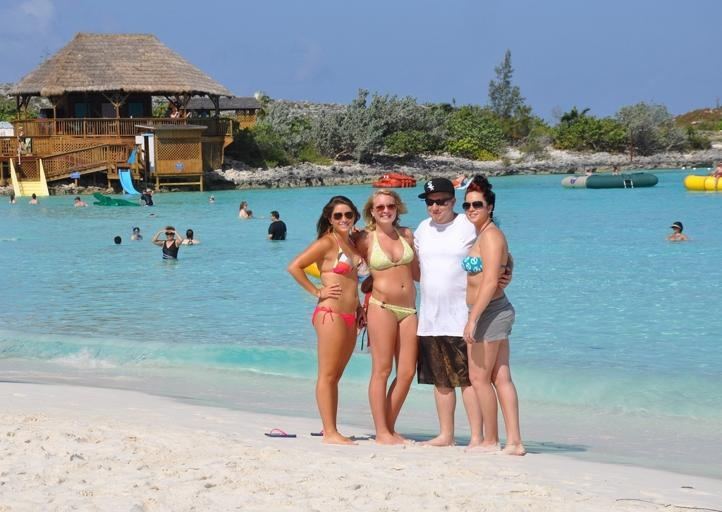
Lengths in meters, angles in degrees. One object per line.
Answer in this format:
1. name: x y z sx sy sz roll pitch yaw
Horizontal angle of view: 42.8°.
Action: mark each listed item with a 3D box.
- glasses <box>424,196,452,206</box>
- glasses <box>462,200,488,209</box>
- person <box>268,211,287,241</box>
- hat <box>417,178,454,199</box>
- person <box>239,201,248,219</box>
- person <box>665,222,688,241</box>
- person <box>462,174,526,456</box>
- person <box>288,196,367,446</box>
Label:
1. glasses: 0.861 -0.619 10.455 0.303 0.095 0.131 0 5 8
2. glasses: 1.240 -0.567 10.289 0.236 0.087 0.063 0 6 18
3. person: -2.360 -0.848 26.042 0.473 0.841 1.492 -2 5 -5
4. hat: 0.820 -0.773 10.489 0.417 0.164 0.234 2 0 -3
5. person: -3.991 -1.585 31.869 0.331 0.555 0.838 -2 5 -8
6. person: 9.015 -0.700 26.685 0.482 0.521 0.719 -3 6 -10
7. person: 1.471 0.691 10.342 0.664 3.194 0.560 -1 6 8
8. person: -0.367 0.743 10.548 0.833 2.856 0.506 -2 6 -1
